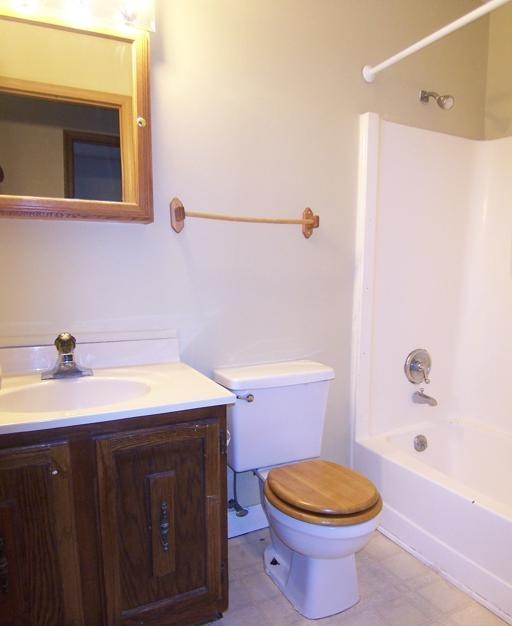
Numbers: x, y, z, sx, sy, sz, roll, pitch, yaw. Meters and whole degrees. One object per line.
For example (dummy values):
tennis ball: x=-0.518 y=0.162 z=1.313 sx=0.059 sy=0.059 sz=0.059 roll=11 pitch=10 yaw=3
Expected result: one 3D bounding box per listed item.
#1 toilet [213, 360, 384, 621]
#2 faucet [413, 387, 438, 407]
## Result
toilet: x=0.151 y=0.546 z=1.798 sx=0.446 sy=0.822 sz=0.739 roll=-2 pitch=2 yaw=-26
faucet: x=0.769 y=0.393 z=2.346 sx=0.061 sy=0.065 sz=0.115 roll=-1 pitch=17 yaw=-27
